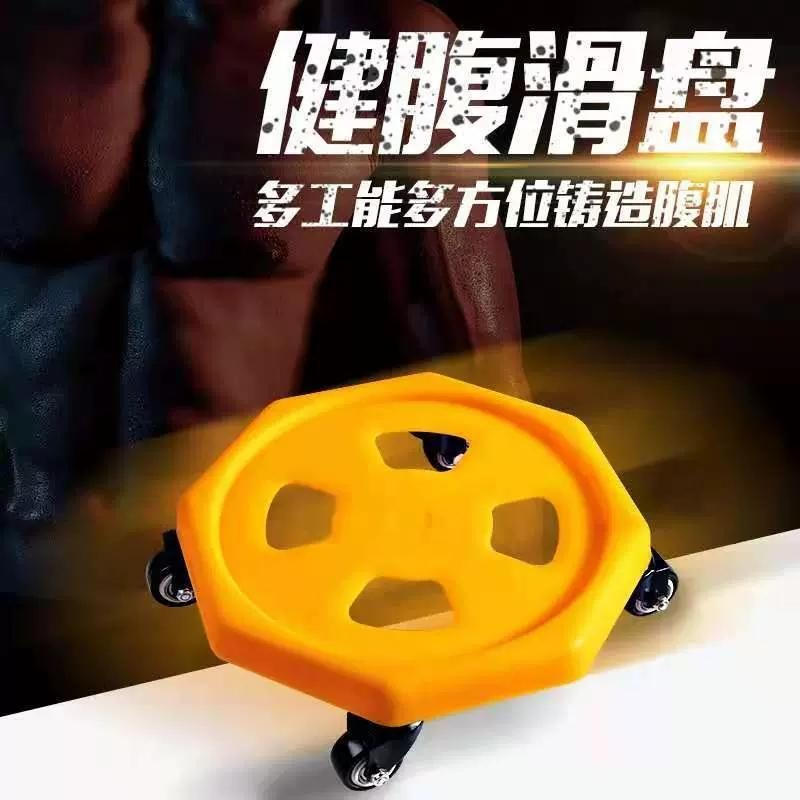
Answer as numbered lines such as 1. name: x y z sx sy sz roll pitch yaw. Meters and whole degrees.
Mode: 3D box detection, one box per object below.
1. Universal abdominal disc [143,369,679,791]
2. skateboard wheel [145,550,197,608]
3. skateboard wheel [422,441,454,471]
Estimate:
1. Universal abdominal disc: 0.014 0.122 1.026 0.532 0.059 0.552 -3 37 2
2. skateboard wheel: -0.301 0.251 1.132 0.068 0.077 0.027 -8 34 2
3. skateboard wheel: 0.057 0.089 1.333 0.035 0.052 0.014 17 50 25
